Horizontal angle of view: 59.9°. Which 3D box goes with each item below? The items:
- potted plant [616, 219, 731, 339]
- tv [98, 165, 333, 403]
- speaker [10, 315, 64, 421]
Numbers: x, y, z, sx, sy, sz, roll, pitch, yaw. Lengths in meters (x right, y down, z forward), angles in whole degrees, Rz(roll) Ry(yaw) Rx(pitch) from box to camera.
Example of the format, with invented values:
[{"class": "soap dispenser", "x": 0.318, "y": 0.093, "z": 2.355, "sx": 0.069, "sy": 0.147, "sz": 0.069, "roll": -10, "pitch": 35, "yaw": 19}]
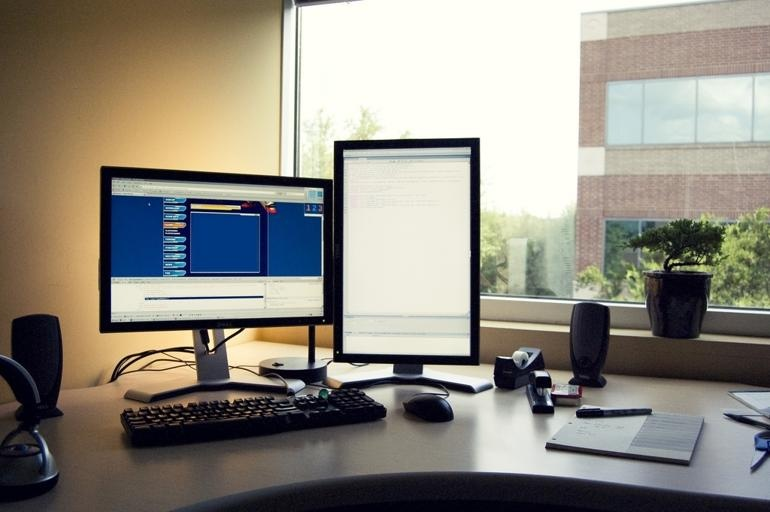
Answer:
[{"class": "potted plant", "x": 0.983, "y": 0.062, "z": 2.247, "sx": 0.255, "sy": 0.375, "sz": 0.353, "roll": -2, "pitch": 7, "yaw": -42}, {"class": "tv", "x": -0.525, "y": 0.081, "z": 2.022, "sx": 0.743, "sy": 0.667, "sz": 0.281, "roll": 1, "pitch": -6, "yaw": -18}, {"class": "speaker", "x": -0.967, "y": 0.301, "z": 1.856, "sx": 0.099, "sy": 0.272, "sz": 0.131, "roll": -11, "pitch": -9, "yaw": 44}]
